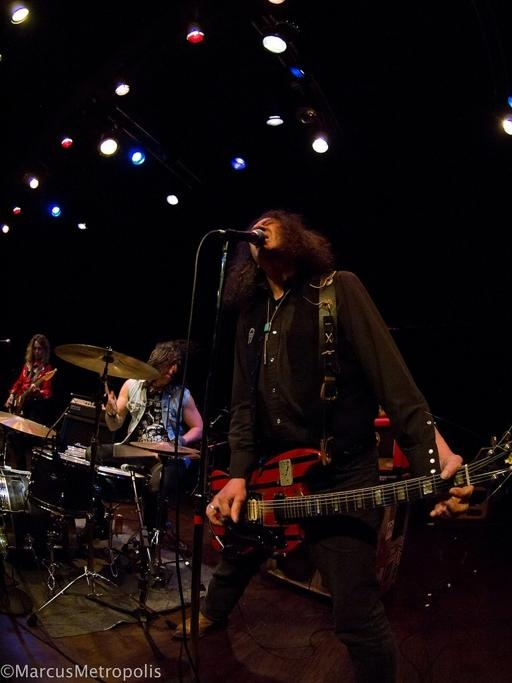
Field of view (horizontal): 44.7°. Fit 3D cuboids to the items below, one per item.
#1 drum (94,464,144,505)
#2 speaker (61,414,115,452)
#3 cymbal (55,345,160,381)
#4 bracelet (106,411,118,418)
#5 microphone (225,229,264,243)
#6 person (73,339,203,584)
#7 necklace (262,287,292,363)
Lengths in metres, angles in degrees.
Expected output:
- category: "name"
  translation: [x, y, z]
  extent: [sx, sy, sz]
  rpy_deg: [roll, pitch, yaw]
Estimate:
- category: "drum"
  translation: [-0.895, 0.924, 4.034]
  extent: [0.387, 0.251, 0.221]
  rpy_deg: [1, -13, 28]
- category: "speaker"
  translation: [-1.426, 0.816, 5.080]
  extent: [0.463, 0.401, 0.252]
  rpy_deg: [5, -10, 0]
- category: "cymbal"
  translation: [-0.979, 0.129, 3.984]
  extent: [0.642, 0.216, 0.444]
  rpy_deg: [-8, -12, 36]
- category: "bracelet"
  translation: [-1.104, 0.559, 4.763]
  extent: [0.074, 0.027, 0.362]
  rpy_deg: [1, -10, -12]
- category: "microphone"
  translation: [-0.050, -0.451, 2.651]
  extent: [0.054, 0.056, 0.212]
  rpy_deg: [3, -2, 39]
- category: "person"
  translation: [-0.853, 0.777, 4.901]
  extent: [0.844, 1.456, 0.932]
  rpy_deg: [16, 7, 28]
- category: "necklace"
  translation: [0.092, -0.083, 2.839]
  extent: [0.103, 0.369, 0.043]
  rpy_deg: [-22, -42, 35]
